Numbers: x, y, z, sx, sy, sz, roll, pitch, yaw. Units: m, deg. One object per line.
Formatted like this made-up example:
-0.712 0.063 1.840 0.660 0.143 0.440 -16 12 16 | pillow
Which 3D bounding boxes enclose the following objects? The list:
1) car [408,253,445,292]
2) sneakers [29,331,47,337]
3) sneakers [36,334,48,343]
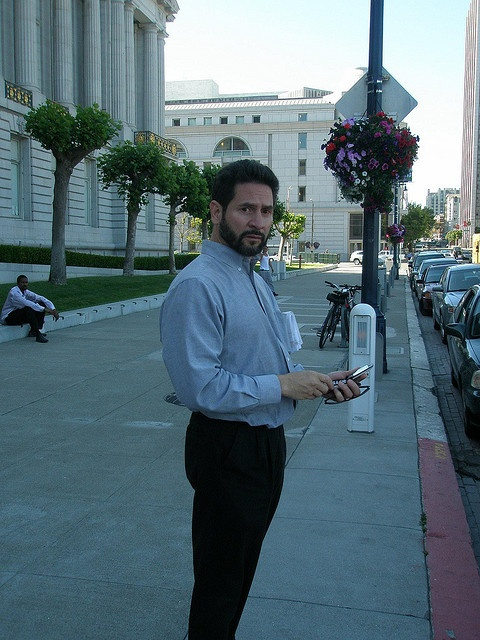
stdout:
10.144 -2.718 30.132 2.274 1.940 3.881 1 1 9 | car
-4.530 0.355 12.260 0.429 0.166 0.143 0 7 5 | sneakers
-4.209 0.409 11.754 0.205 0.184 0.273 -2 4 -41 | sneakers
